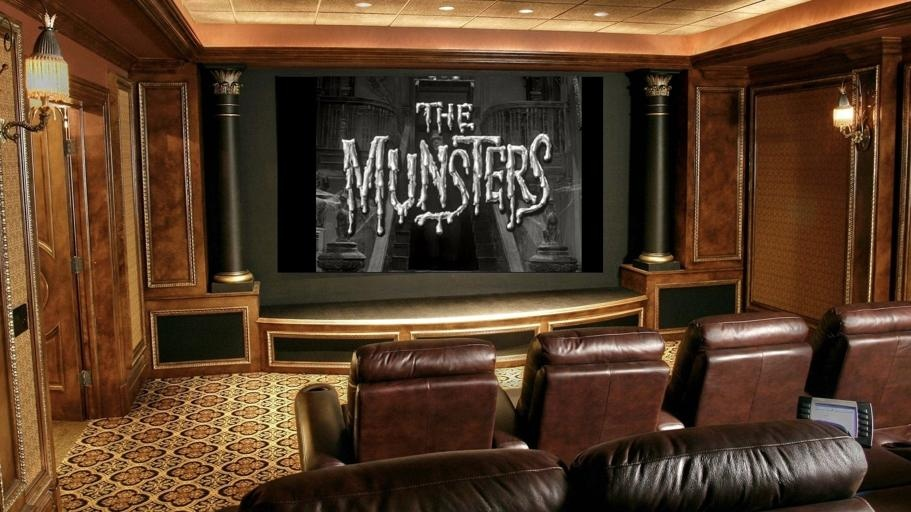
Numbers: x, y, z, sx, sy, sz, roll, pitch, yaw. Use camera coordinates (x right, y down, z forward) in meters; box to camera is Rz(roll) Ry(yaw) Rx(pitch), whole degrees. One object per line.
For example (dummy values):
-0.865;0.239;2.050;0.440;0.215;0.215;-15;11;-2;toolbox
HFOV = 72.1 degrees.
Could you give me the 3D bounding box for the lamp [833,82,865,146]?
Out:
4.245;-1.539;6.667;0.324;0.734;0.765;4;6;31;lamp
